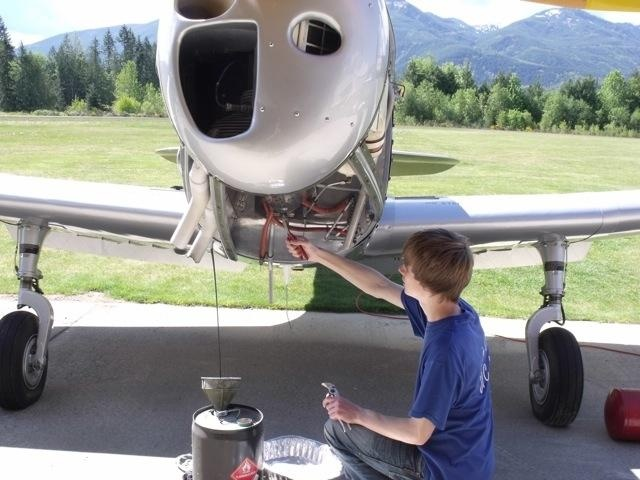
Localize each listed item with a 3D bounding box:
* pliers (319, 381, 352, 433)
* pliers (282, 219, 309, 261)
[{"bbox_3d":[0.097,1.016,3.916,0.098,0.108,0.600,11,-25,18],"label":"pliers"},{"bbox_3d":[-0.169,-0.001,4.573,0.081,0.294,0.076,-21,17,45],"label":"pliers"}]
